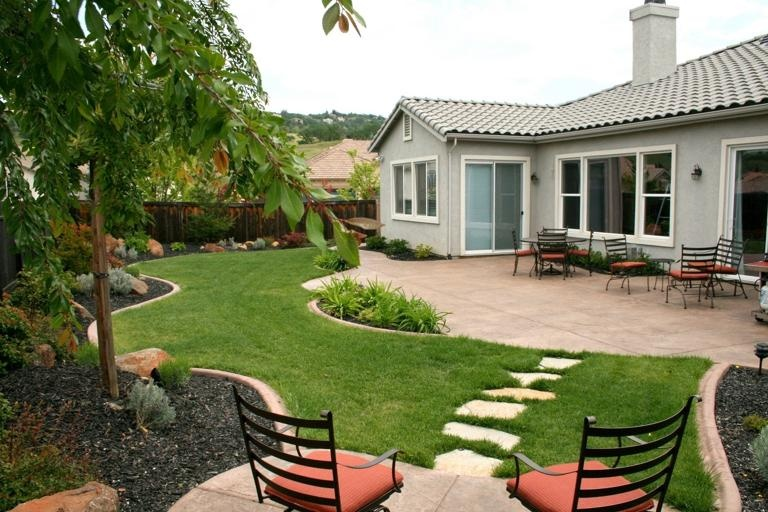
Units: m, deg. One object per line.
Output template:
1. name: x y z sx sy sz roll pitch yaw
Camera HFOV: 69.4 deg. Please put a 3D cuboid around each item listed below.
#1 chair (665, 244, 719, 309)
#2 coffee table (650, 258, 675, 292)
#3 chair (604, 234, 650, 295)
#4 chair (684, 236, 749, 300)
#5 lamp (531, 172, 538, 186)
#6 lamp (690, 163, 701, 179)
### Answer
1. chair: 6.533 0.343 11.812 0.821 1.339 0.857 -1 2 -3
2. coffee table: 6.161 0.430 12.493 0.553 0.658 0.576 5 -4 15
3. chair: 5.958 0.192 13.710 1.089 1.292 1.084 2 7 14
4. chair: 7.143 0.158 12.118 1.036 1.386 1.129 1 3 -4
5. lamp: 4.953 -2.529 18.222 0.266 0.367 0.111 2 6 18
6. lamp: 7.336 -1.989 13.065 0.150 0.369 0.266 -3 6 -25
